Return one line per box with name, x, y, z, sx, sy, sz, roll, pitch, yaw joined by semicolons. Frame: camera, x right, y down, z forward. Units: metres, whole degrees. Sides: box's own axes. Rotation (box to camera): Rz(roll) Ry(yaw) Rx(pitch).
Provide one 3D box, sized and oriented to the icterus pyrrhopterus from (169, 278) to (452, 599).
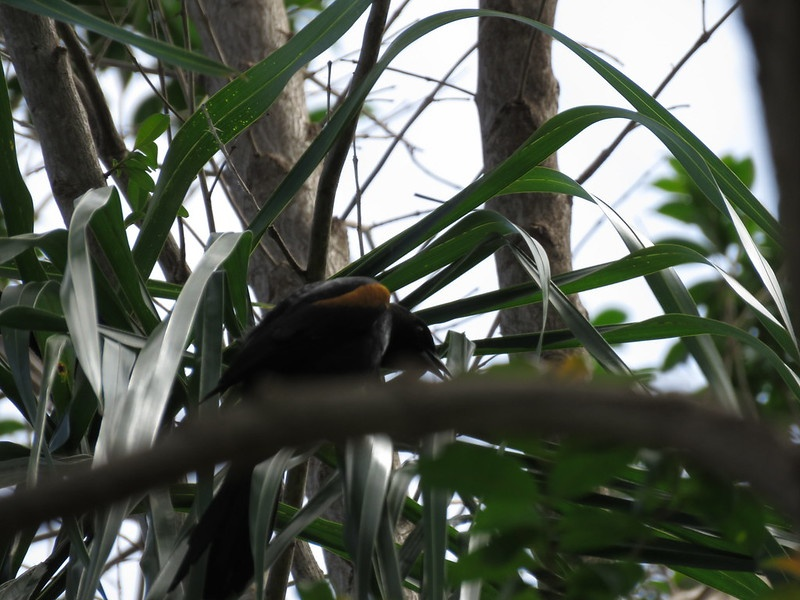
icterus pyrrhopterus;-0.152;0.332;3.234;0.798;0.739;0.405;-1;-25;-23
